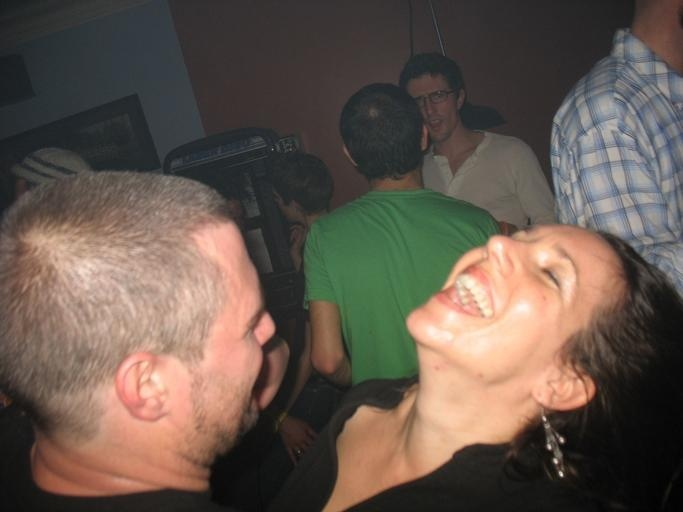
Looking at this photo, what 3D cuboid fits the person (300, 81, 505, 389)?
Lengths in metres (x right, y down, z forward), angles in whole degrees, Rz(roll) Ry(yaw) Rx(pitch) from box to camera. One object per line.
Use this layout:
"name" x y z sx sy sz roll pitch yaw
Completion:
"person" 0.372 -0.042 4.031 1.270 1.946 1.039 -8 15 -1
